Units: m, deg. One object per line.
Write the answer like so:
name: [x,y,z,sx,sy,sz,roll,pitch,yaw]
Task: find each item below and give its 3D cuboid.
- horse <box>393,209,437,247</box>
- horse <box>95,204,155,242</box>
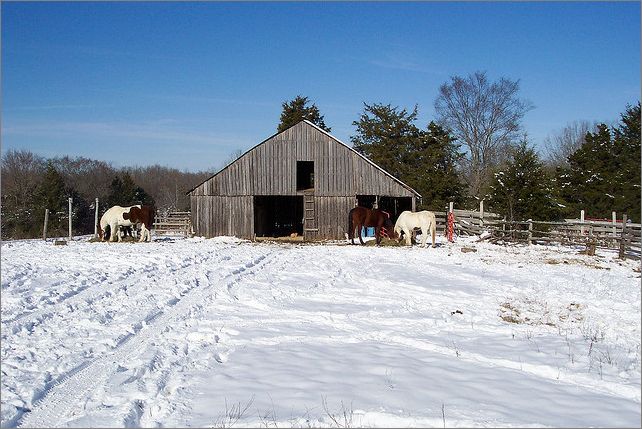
horse: [4.506,0.614,23.890,1.352,1.750,2.329,-4,13,-33]
horse: [-9.399,0.472,24.751,2.522,1.667,0.796,-4,-3,-5]
